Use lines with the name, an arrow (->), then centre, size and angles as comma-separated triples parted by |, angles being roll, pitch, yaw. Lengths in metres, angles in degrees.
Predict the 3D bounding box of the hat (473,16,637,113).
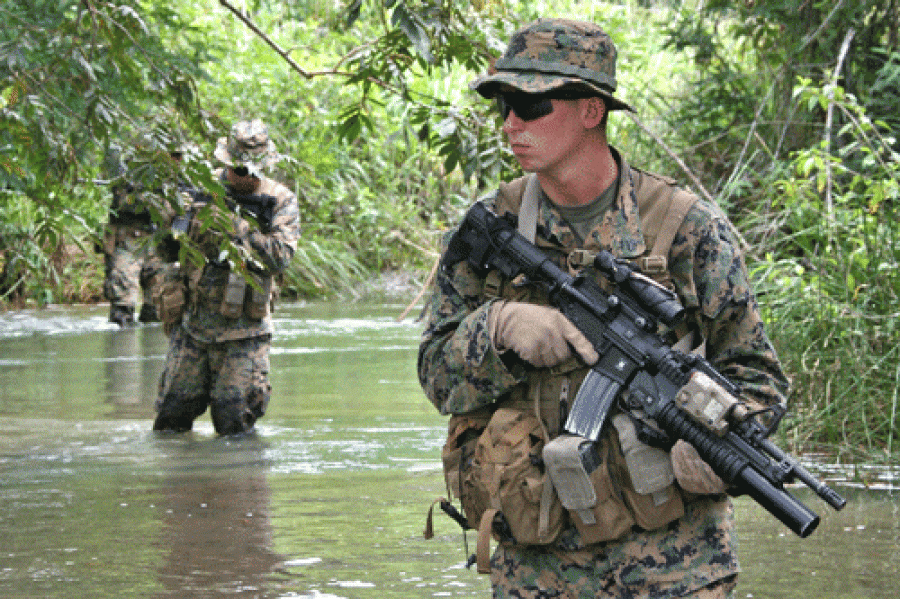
hat -> 0.441, -1.065, 4.661 | 0.485, 0.262, 0.487 | -5, 9, -16
